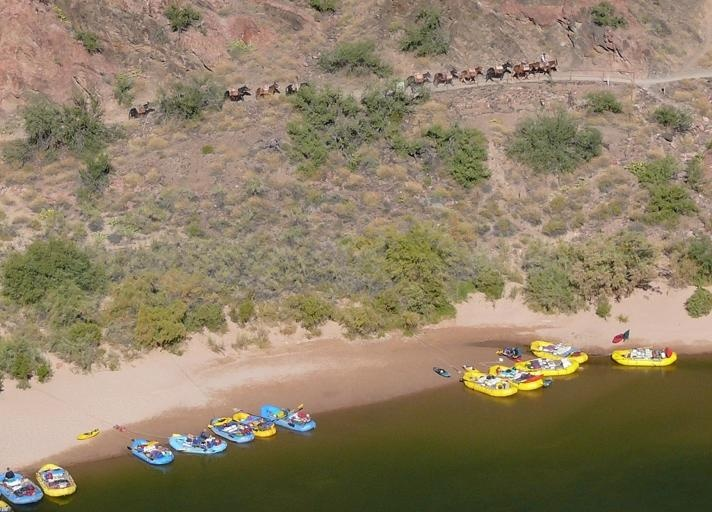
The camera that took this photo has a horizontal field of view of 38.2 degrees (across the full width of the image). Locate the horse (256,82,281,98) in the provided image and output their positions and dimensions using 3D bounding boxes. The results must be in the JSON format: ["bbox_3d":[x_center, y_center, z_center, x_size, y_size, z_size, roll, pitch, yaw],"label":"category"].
[{"bbox_3d":[-9.128,-17.319,107.654,2.548,1.150,1.399,-13,14,-11],"label":"horse"}]

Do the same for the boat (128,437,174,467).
[{"bbox_3d":[-16.934,16.144,85.338,3.115,0.668,1.891,24,34,21],"label":"boat"}]

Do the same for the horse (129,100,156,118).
[{"bbox_3d":[-22.009,-14.983,106.363,2.512,1.319,0.811,-14,14,-13],"label":"horse"}]

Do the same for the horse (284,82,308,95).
[{"bbox_3d":[-6.168,-17.355,107.043,2.484,0.974,1.502,-9,14,5],"label":"horse"}]
